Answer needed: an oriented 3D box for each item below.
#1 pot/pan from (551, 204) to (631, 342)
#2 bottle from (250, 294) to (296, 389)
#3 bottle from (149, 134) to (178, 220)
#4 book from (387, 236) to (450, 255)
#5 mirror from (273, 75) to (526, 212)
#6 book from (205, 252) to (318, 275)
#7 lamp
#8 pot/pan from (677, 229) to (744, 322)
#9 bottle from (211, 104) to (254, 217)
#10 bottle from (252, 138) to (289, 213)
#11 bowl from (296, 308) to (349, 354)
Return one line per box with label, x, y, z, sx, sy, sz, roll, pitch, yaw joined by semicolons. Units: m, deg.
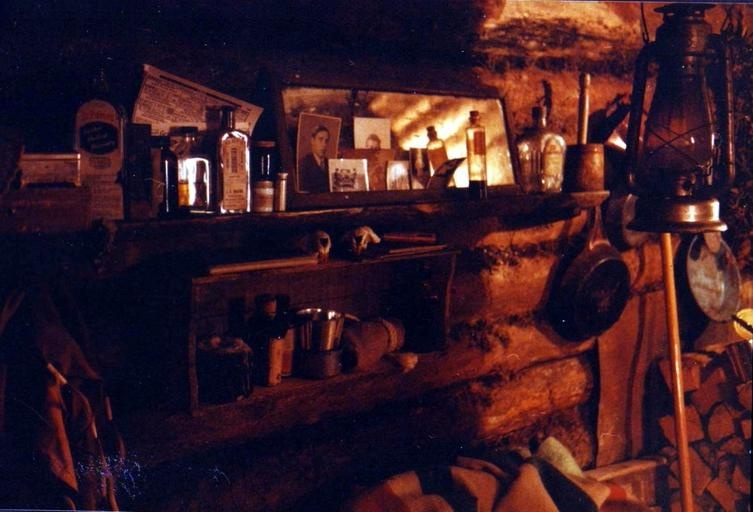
pot/pan;0.957;0.041;3.107;0.393;0.624;0.110;-9;17;-33
bottle;-0.393;0.311;2.484;0.160;0.337;0.072;-1;-3;-9
bottle;-0.722;-0.274;2.269;0.081;0.278;0.054;0;-3;-19
book;0.153;-0.043;2.631;0.283;0.073;0.075;0;-3;-32
mirror;0.123;-0.439;2.643;1.127;0.468;0.097;-5;3;-30
book;-0.397;0.030;2.346;0.388;0.072;0.019;0;-3;-24
lamp;1.323;-0.628;2.904;0.412;1.077;0.610;-3;-3;28
pot/pan;1.709;0.113;3.406;0.323;0.441;0.120;0;-3;-18
bottle;-0.480;-0.333;2.384;0.120;0.376;0.144;0;6;20
bottle;-0.383;-0.280;2.366;0.131;0.247;0.038;-1;-3;-9
bowl;-0.211;0.283;2.575;0.173;0.113;0.141;-2;6;-28
